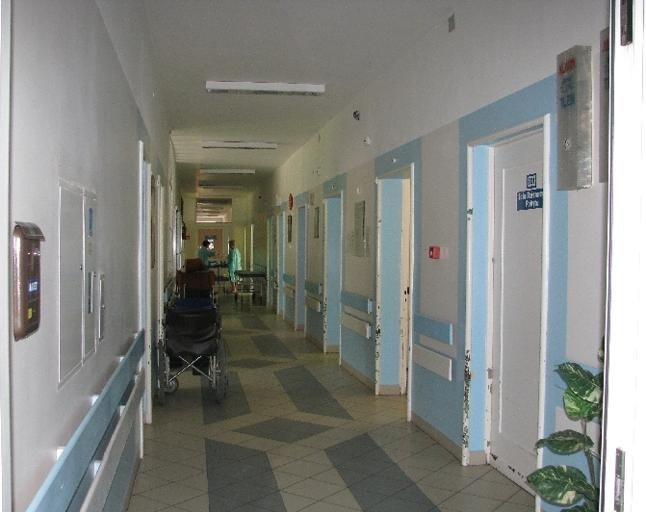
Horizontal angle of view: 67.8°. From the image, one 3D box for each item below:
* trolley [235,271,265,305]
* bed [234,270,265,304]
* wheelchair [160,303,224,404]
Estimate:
[{"bbox_3d":[-2.376,0.855,15.610,0.969,0.954,4.689,0,2,-9],"label":"trolley"},{"bbox_3d":[-2.609,0.905,16.064,0.797,1.037,2.192,6,8,-16],"label":"bed"},{"bbox_3d":[-1.551,1.032,5.927,0.727,1.249,1.264,1,11,-8],"label":"wheelchair"}]
